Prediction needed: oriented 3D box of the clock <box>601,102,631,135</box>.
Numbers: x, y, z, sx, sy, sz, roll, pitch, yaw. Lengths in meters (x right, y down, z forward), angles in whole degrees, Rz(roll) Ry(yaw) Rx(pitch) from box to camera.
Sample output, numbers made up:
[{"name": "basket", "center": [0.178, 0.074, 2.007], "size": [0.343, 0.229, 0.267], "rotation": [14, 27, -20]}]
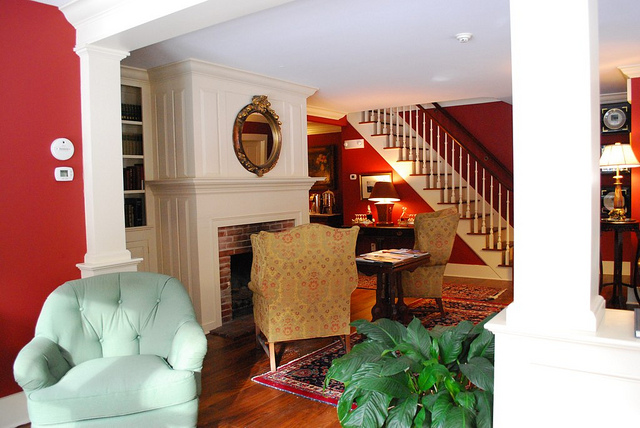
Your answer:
[{"name": "clock", "center": [4.736, -1.539, 7.090], "size": [0.387, 0.486, 0.184], "rotation": [3, 11, 29]}]

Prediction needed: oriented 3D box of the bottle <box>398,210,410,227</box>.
[{"name": "bottle", "center": [1.498, 0.074, 7.931], "size": [0.226, 0.290, 0.224], "rotation": [0, -1, 0]}]

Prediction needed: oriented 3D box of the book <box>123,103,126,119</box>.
[{"name": "book", "center": [-2.294, -1.197, 5.144], "size": [0.030, 0.169, 0.067], "rotation": [-4, 10, -11]}]

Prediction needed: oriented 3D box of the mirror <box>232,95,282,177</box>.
[{"name": "mirror", "center": [-0.795, -0.985, 5.533], "size": [0.169, 1.014, 0.702], "rotation": [6, 12, 39]}]

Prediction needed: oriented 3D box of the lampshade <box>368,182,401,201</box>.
[{"name": "lampshade", "center": [1.140, -0.409, 7.975], "size": [0.395, 0.334, 0.390], "rotation": [-4, 9, -22]}]

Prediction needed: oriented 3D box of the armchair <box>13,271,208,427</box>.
[{"name": "armchair", "center": [-1.413, 0.866, 3.555], "size": [1.247, 1.332, 1.241], "rotation": [0, -9, -15]}]

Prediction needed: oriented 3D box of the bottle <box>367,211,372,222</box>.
[{"name": "bottle", "center": [0.921, 0.033, 8.263], "size": [0.083, 0.178, 0.201], "rotation": [-1, 9, 6]}]

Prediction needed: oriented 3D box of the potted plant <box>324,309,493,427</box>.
[{"name": "potted plant", "center": [0.624, 0.943, 2.684], "size": [0.784, 0.283, 0.771], "rotation": [-29, 30, -20]}]

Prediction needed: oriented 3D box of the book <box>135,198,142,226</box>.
[{"name": "book", "center": [-2.174, -0.021, 5.243], "size": [0.062, 0.320, 0.160], "rotation": [-3, 10, -9]}]

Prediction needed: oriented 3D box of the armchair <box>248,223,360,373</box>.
[{"name": "armchair", "center": [-0.194, 0.730, 4.360], "size": [0.991, 1.200, 0.709], "rotation": [-1, 2, -24]}]

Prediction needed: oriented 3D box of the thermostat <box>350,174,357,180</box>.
[{"name": "thermostat", "center": [0.634, -0.723, 8.579], "size": [0.105, 0.096, 0.030], "rotation": [-1, 2, 23]}]
